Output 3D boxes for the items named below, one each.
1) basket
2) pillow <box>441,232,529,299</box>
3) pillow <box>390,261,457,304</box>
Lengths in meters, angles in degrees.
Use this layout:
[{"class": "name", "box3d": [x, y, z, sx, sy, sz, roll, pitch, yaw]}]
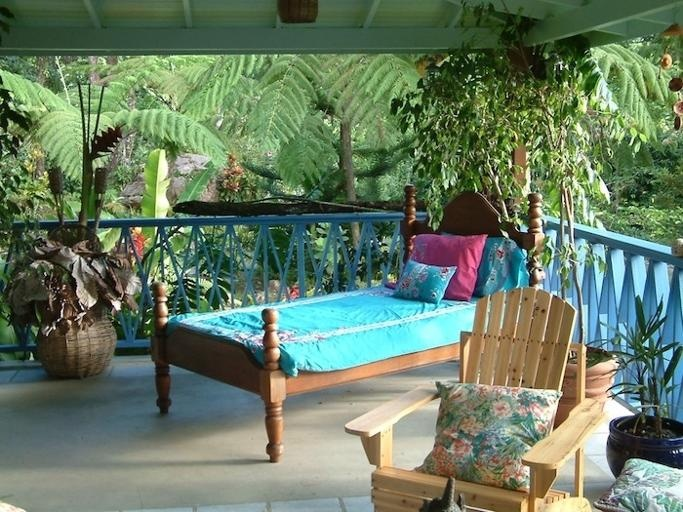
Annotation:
[{"class": "basket", "box3d": [-2.389, 0.821, 5.424, 0.565, 0.601, 0.589, -1, 9, -7]}, {"class": "pillow", "box3d": [1.345, 0.094, 5.004, 0.507, 0.607, 0.178, 0, -8, 40]}, {"class": "pillow", "box3d": [0.640, 0.156, 4.908, 0.409, 0.351, 0.127, 13, -17, 48]}]
